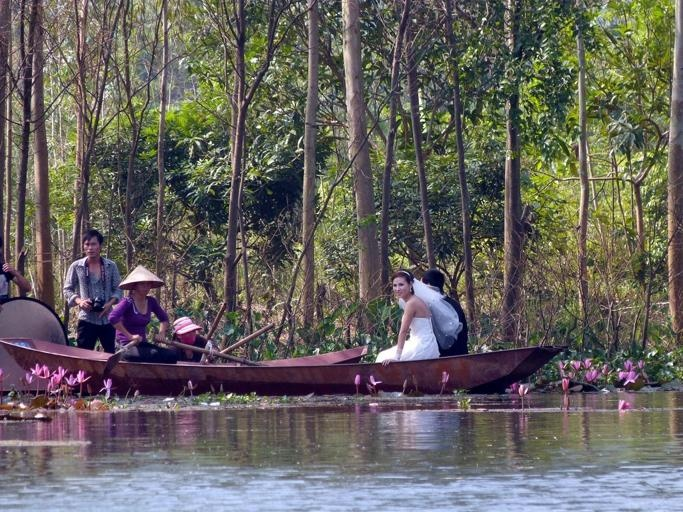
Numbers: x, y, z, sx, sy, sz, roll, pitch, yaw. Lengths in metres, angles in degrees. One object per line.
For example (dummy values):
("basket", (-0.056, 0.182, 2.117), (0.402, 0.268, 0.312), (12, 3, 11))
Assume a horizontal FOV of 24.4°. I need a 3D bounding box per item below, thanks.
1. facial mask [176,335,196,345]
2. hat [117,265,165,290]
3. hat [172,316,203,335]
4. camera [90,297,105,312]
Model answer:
("facial mask", (-2.365, 1.241, 23.991), (0.152, 0.133, 0.213), (0, -10, -31))
("hat", (-2.994, 0.336, 23.669), (0.401, 0.215, 0.443), (-1, -12, -1))
("hat", (-2.402, 1.007, 23.964), (0.242, 0.158, 0.313), (-9, -11, -43))
("camera", (-3.667, 0.711, 23.667), (0.137, 0.216, 0.122), (-2, 1, -10))
